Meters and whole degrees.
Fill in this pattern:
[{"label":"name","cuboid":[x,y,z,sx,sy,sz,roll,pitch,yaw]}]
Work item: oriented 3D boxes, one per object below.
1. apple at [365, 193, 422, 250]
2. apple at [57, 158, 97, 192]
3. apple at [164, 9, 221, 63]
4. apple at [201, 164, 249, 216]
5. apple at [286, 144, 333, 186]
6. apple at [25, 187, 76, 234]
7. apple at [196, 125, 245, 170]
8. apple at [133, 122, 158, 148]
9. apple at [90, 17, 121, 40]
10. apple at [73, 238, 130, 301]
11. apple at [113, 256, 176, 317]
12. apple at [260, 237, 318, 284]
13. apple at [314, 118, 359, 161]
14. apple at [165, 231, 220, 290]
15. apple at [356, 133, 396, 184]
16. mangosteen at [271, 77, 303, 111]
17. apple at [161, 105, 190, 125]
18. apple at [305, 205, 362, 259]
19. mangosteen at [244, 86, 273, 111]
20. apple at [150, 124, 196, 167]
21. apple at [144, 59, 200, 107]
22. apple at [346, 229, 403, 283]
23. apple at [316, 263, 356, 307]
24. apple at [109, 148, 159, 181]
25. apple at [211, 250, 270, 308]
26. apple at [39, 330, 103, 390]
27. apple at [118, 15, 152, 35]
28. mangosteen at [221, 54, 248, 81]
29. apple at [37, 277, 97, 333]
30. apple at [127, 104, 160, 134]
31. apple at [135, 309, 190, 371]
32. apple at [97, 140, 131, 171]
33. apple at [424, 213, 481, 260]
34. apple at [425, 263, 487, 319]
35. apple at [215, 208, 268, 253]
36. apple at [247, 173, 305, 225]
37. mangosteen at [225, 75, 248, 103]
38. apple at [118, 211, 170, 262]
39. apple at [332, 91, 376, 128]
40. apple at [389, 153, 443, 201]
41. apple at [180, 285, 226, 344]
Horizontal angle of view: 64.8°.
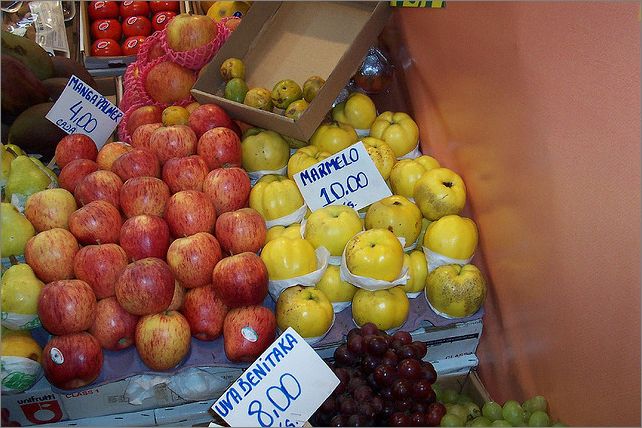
[{"label":"apple","cuboid":[0.397,-0.003,2.837,0.267,0.299,0.276,-10,21,-27]},{"label":"apple","cuboid":[-1.443,-0.211,2.997,0.213,0.226,0.237,1,77,-20]},{"label":"apple","cuboid":[-0.877,-1.216,3.417,0.275,0.265,0.309,-15,66,-4]},{"label":"apple","cuboid":[-0.550,-0.139,2.916,0.247,0.287,0.266,-1,25,-13]},{"label":"apple","cuboid":[-0.091,-0.322,3.002,0.180,0.239,0.219,-1,46,-5]},{"label":"apple","cuboid":[-1.533,-0.037,2.768,0.258,0.259,0.264,23,13,39]},{"label":"apple","cuboid":[-0.617,-0.369,3.042,0.244,0.236,0.276,-18,97,-29]},{"label":"apple","cuboid":[-1.072,-0.485,3.093,0.141,0.157,0.156,5,19,-5]},{"label":"apple","cuboid":[-2.191,-1.860,5.141,0.233,0.257,0.247,0,15,3]},{"label":"apple","cuboid":[-1.116,0.304,2.600,0.226,0.250,0.283,-7,93,28]},{"label":"apple","cuboid":[-0.890,0.365,2.548,0.287,0.286,0.293,-9,27,-15]},{"label":"apple","cuboid":[-0.167,0.260,2.749,0.266,0.297,0.302,5,96,32]},{"label":"apple","cuboid":[0.084,-0.449,3.148,0.212,0.221,0.233,-4,29,11]},{"label":"apple","cuboid":[-0.658,0.217,2.665,0.233,0.249,0.276,-7,99,-9]},{"label":"apple","cuboid":[0.330,-0.349,3.033,0.217,0.244,0.241,-4,41,5]},{"label":"mangosteen","cuboid":[-0.215,-0.757,3.238,0.166,0.171,0.196,6,95,3]},{"label":"apple","cuboid":[-0.899,-0.575,3.142,0.134,0.161,0.144,8,82,-25]},{"label":"apple","cuboid":[0.075,0.082,2.729,0.247,0.277,0.274,-4,31,-4]},{"label":"mangosteen","cuboid":[-0.384,-0.696,3.189,0.158,0.145,0.176,-2,94,-40]},{"label":"apple","cuboid":[-0.879,-0.410,2.993,0.208,0.242,0.231,-3,35,-5]},{"label":"apple","cuboid":[-1.028,-0.896,3.487,0.288,0.293,0.299,3,90,-7]},{"label":"apple","cuboid":[0.278,0.206,2.601,0.301,0.140,0.267,12,59,-2]},{"label":"apple","cuboid":[0.100,0.402,2.815,0.214,0.285,0.238,-2,30,-1]},{"label":"apple","cuboid":[-1.051,-0.279,2.843,0.191,0.198,0.204,1,45,-43]},{"label":"apple","cuboid":[-0.409,0.368,2.599,0.282,0.267,0.296,-9,83,-51]},{"label":"apple","cuboid":[-1.222,0.700,2.516,0.250,0.261,0.273,2,64,-20]},{"label":"apple","cuboid":[-1.887,-1.928,5.166,0.228,0.236,0.249,-10,40,-13]},{"label":"mangosteen","cuboid":[-0.550,-0.949,3.302,0.140,0.164,0.150,1,21,9]},{"label":"apple","cuboid":[-1.259,0.470,2.496,0.245,0.263,0.250,-6,17,-39]},{"label":"apple","cuboid":[-1.143,-0.627,3.351,0.177,0.192,0.207,0,73,2]},{"label":"apple","cuboid":[-0.797,0.652,2.565,0.241,0.254,0.292,5,87,-27]},{"label":"apple","cuboid":[-1.220,-0.359,3.105,0.150,0.153,0.183,-25,110,-12]},{"label":"apple","cuboid":[0.720,0.107,2.839,0.226,0.241,0.260,11,88,-13]},{"label":"apple","cuboid":[0.732,0.427,2.738,0.317,0.294,0.329,-1,21,-4]},{"label":"apple","cuboid":[-0.409,0.090,2.686,0.210,0.233,0.252,-6,103,4]},{"label":"apple","cuboid":[-0.265,-0.093,2.983,0.259,0.253,0.279,-4,93,-39]},{"label":"mangosteen","cuboid":[-0.524,-0.768,3.219,0.141,0.150,0.201,-2,82,6]},{"label":"apple","cuboid":[-0.930,0.130,2.675,0.226,0.248,0.279,2,100,10]},{"label":"apple","cuboid":[0.257,-0.684,3.332,0.243,0.231,0.272,-2,92,-28]},{"label":"apple","cuboid":[0.593,-0.173,3.058,0.273,0.273,0.291,-14,65,31]},{"label":"apple","cuboid":[-0.582,0.532,2.656,0.232,0.227,0.318,14,63,-47]}]
